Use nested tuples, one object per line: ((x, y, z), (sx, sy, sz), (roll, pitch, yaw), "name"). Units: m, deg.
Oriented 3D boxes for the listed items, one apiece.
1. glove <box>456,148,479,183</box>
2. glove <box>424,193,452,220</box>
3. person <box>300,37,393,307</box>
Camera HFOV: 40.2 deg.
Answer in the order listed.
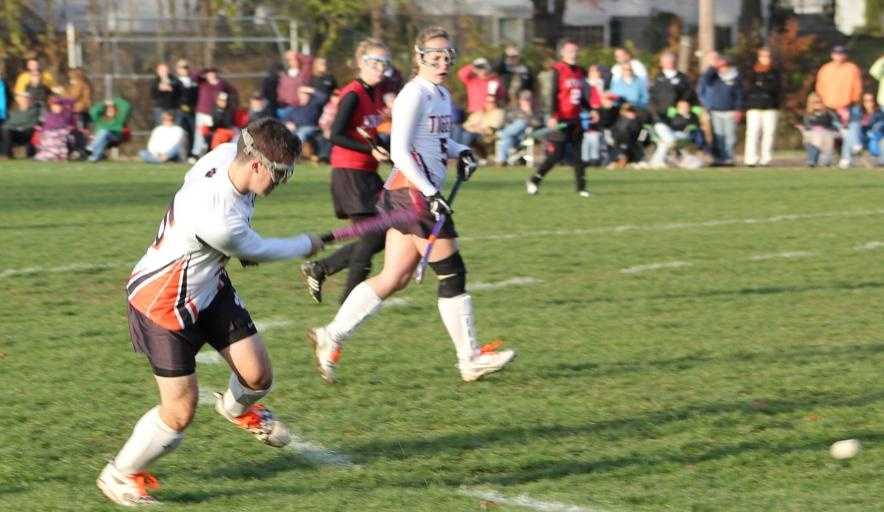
((0.299, -1.033, 13.908), (0.189, 0.321, 0.265), (10, -13, 10), "glove")
((-0.079, -0.542, 13.381), (0.319, 0.279, 0.082), (-33, 6, -24), "glove")
((-1.007, -1.019, 14.683), (1.371, 2.955, 1.519), (1, 1, -1), "person")
